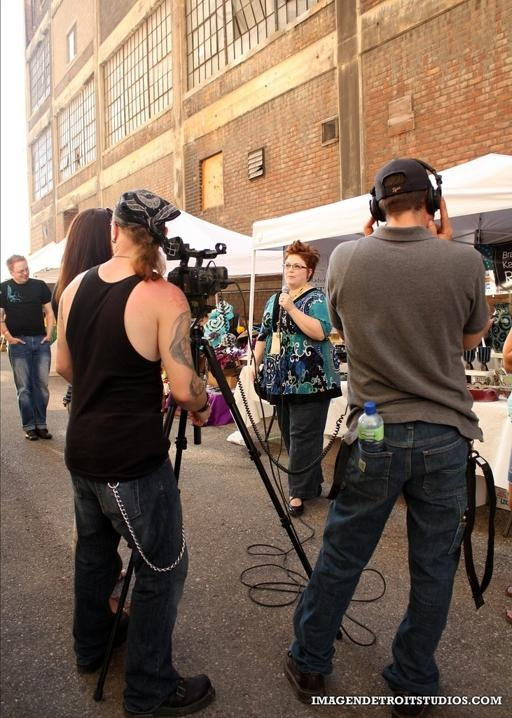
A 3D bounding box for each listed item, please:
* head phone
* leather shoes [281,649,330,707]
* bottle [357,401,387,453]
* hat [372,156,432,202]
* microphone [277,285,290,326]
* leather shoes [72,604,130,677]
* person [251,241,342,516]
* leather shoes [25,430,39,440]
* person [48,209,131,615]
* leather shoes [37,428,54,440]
[{"bbox_3d":[0.473,-0.566,1.808,0.236,0.209,0.140,-6,-1,19],"label":"head phone"},{"bbox_3d":[0.161,1.133,1.940,0.256,0.118,0.158,-1,8,-2],"label":"leather shoes"},{"bbox_3d":[0.348,0.200,1.684,0.081,0.155,0.101,-4,11,9],"label":"bottle"},{"bbox_3d":[0.471,-0.583,1.781,0.126,0.100,0.172,11,39,45],"label":"hat"},{"bbox_3d":[0.179,-0.353,3.601,0.060,0.259,0.077,4,-7,3],"label":"microphone"},{"bbox_3d":[-0.587,1.056,2.133,0.129,0.408,0.180,11,16,12],"label":"leather shoes"},{"bbox_3d":[0.326,0.045,3.889,0.597,1.938,0.578,1,2,33],"label":"person"},{"bbox_3d":[-2.501,0.847,6.164,0.077,0.096,0.205,2,-4,-34],"label":"leather shoes"},{"bbox_3d":[-0.846,0.112,2.709,0.548,1.627,0.533,5,12,-25],"label":"person"},{"bbox_3d":[-2.381,0.848,6.244,0.089,0.104,0.233,0,0,-45],"label":"leather shoes"}]
